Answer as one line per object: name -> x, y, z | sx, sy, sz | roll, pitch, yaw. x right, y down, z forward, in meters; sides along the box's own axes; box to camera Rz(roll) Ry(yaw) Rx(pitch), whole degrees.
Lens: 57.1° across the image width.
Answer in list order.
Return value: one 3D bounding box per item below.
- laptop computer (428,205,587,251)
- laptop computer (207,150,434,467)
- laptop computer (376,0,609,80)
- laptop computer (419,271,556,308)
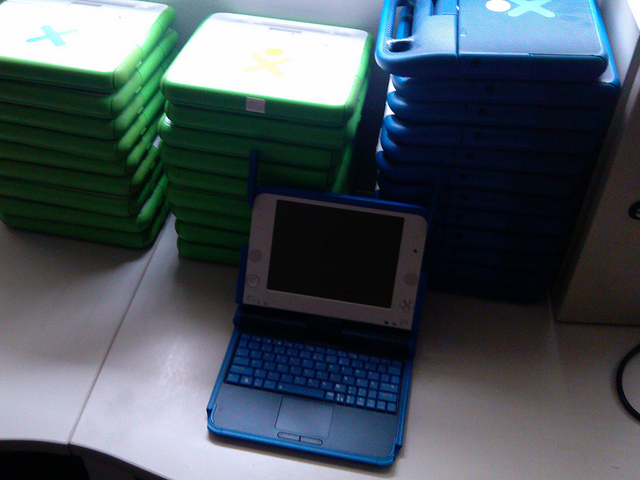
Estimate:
laptop computer -> 0.392, -0.027, 1.249 | 0.160, 0.042, 0.166 | 6, 12, -5
laptop computer -> 0.002, 0.084, 1.127 | 0.421, 0.450, 0.480 | 13, 37, 13
laptop computer -> 0.336, -0.386, 1.123 | 0.266, 0.057, 0.284 | 4, 43, 6
laptop computer -> 0.393, 0.119, 1.351 | 0.154, 0.161, 0.038 | 16, 88, 10
